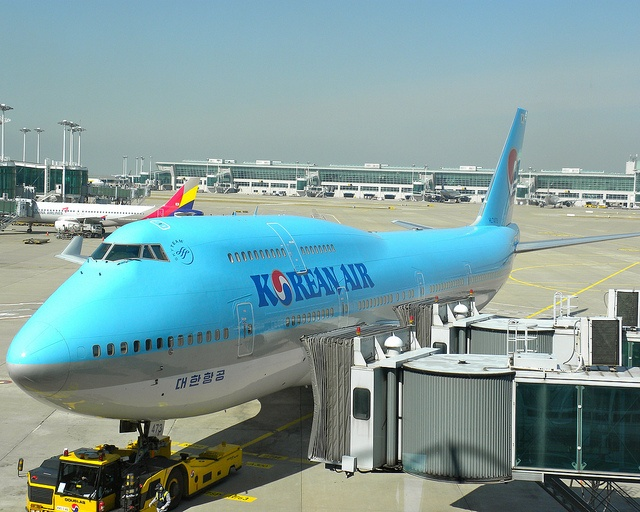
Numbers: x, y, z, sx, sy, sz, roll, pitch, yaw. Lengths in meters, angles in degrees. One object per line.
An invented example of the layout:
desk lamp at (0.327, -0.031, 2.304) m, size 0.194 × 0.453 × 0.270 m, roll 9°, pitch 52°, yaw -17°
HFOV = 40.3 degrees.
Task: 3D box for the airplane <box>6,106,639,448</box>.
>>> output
airplane at (2.065, -0.998, 33.188) m, size 30.705 × 9.780 × 7.928 m, roll -6°, pitch 14°, yaw -43°
